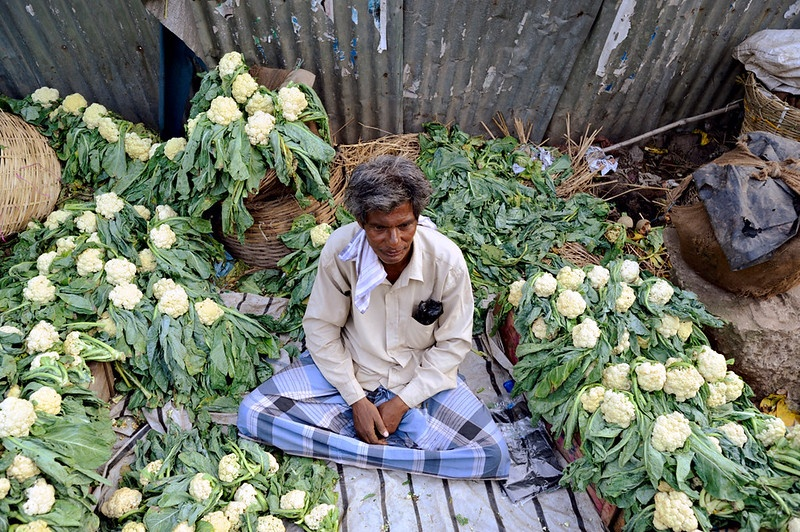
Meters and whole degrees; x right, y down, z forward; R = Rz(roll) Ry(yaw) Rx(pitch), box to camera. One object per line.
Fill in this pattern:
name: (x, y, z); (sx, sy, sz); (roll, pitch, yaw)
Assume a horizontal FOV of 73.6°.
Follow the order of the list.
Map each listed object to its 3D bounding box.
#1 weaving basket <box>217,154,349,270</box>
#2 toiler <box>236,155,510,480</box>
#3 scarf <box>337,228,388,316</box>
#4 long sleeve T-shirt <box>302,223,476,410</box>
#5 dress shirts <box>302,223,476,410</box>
weaving basket: (-1.163, -0.441, 5.402); (0.939, 0.589, 1.064); (-9, 29, 27)
toiler: (-0.202, 0.339, 4.077); (2.060, 2.116, 1.505); (2, 30, 3)
scarf: (-0.259, 0.036, 3.854); (0.364, 0.556, 0.201); (21, 34, 26)
long sleeve T-shirt: (-0.120, 0.427, 4.149); (1.314, 1.388, 1.079); (9, 21, -1)
dress shirts: (-0.114, 0.399, 4.127); (1.347, 1.475, 1.123); (7, 23, -4)
